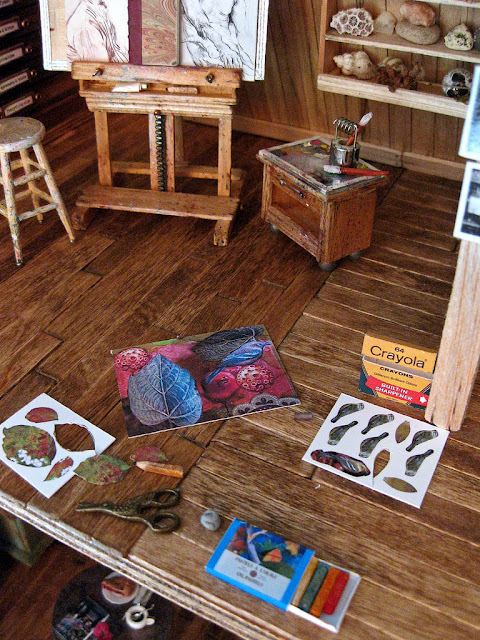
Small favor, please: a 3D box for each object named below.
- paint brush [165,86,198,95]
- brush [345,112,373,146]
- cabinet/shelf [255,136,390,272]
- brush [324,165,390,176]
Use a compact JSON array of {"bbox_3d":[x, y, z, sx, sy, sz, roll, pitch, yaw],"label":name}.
[{"bbox_3d":[-0.266,-1.027,2.307,0.140,0.032,0.042,3,33,4],"label":"paint brush"},{"bbox_3d":[0.487,-0.808,2.133,0.086,0.129,0.256,6,33,9],"label":"brush"},{"bbox_3d":[0.356,-0.513,2.295,0.356,0.451,0.524,-16,37,-23],"label":"cabinet/shelf"},{"bbox_3d":[0.466,-0.614,2.100,0.241,0.033,0.140,-2,32,-4],"label":"brush"}]
